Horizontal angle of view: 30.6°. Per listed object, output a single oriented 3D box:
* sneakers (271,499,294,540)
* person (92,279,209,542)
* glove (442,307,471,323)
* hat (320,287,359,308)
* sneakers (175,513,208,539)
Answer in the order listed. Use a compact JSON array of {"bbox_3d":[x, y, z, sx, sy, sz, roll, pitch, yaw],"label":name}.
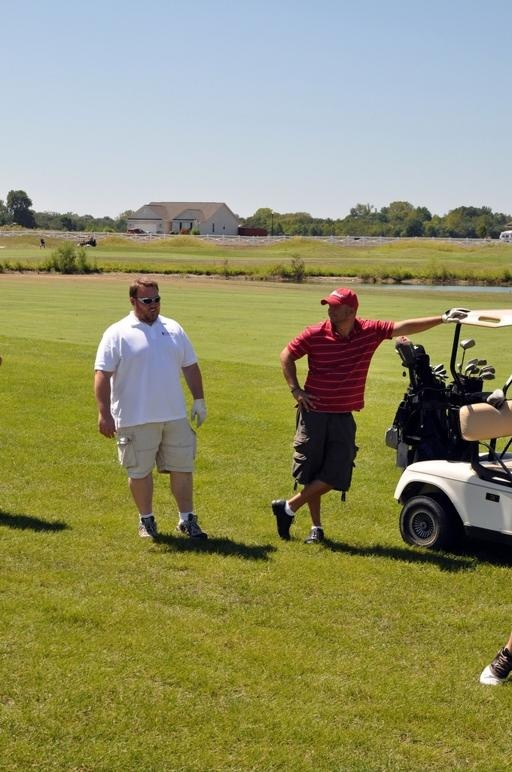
[{"bbox_3d":[0.160,0.777,5.578,0.147,0.257,0.094,-4,10,12],"label":"sneakers"},{"bbox_3d":[-0.602,0.145,5.434,0.675,1.508,0.527,1,9,-12],"label":"person"},{"bbox_3d":[1.105,-0.381,5.138,0.148,0.083,0.247,4,8,11],"label":"glove"},{"bbox_3d":[0.474,-0.485,5.200,0.198,0.090,0.126,2,6,-14],"label":"hat"},{"bbox_3d":[-0.386,0.817,5.458,0.089,0.098,0.237,-3,5,-32],"label":"sneakers"}]
